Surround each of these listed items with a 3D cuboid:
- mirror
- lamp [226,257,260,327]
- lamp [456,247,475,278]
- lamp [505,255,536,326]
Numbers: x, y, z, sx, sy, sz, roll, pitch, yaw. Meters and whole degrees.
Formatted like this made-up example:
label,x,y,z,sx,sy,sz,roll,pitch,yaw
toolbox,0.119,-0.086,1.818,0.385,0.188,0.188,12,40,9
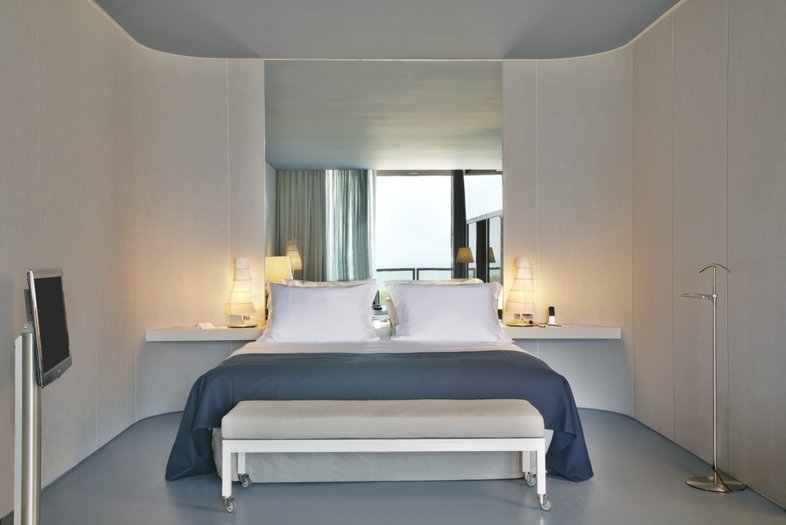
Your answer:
label,x,y,z,sx,sy,sz,roll,pitch,yaw
mirror,-0.043,-0.685,6.311,2.471,2.601,0.101,0,-1,3
lamp,-1.463,0.302,6.030,0.289,0.649,0.296,0,1,-5
lamp,0.741,-0.011,6.355,0.178,0.306,0.090,0,13,3
lamp,1.273,0.279,6.087,0.283,0.707,0.281,5,-4,-6
